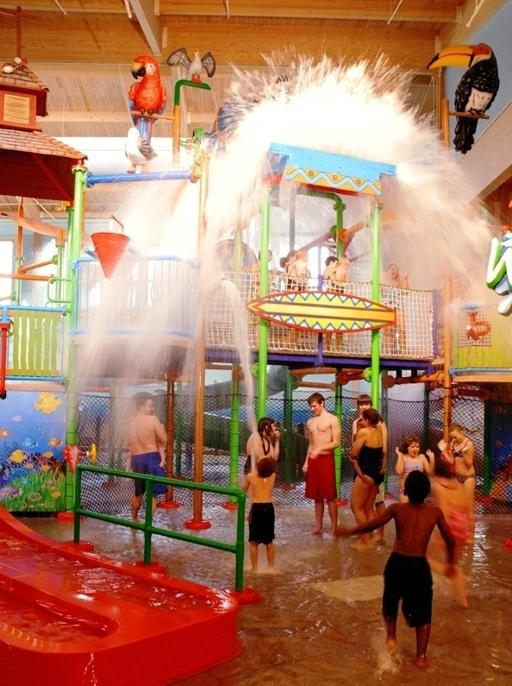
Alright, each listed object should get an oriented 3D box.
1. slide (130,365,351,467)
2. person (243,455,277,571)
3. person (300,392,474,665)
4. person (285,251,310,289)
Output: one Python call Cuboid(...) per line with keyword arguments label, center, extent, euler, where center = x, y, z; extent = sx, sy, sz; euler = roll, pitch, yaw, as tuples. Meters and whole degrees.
Cuboid(label="slide", center=(-0.280, 1.430, 10.391), extent=(3.259, 1.403, 4.245), euler=(0, -1, 1))
Cuboid(label="person", center=(0.036, 1.619, 5.059), extent=(0.283, 1.119, 0.563), euler=(1, -3, 2))
Cuboid(label="person", center=(0.878, 1.281, 3.214), extent=(0.589, 1.120, 0.735), euler=(0, -3, 26))
Cuboid(label="person", center=(0.658, -1.161, 8.618), extent=(0.367, 0.723, 0.741), euler=(1, -3, 3))
